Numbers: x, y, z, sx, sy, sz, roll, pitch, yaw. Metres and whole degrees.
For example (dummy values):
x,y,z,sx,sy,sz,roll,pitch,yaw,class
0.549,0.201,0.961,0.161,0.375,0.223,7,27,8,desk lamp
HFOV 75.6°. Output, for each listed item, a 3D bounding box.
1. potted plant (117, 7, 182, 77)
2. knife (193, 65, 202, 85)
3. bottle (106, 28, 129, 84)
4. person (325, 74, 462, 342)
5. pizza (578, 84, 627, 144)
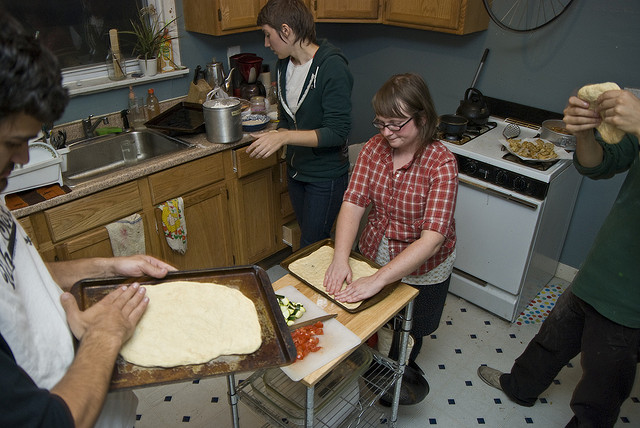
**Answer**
x,y,z,sx,sy,sz,roll,pitch,yaw,class
-1.336,-1.376,3.391,0.476,0.451,0.452,-15,37,-41,potted plant
-1.014,-1.125,3.395,0.045,0.204,0.026,22,38,-3,knife
-1.569,-1.208,3.133,0.183,0.346,0.183,5,32,-3,bottle
0.360,-0.116,2.018,0.582,0.982,0.743,11,30,17,person
1.223,-0.420,1.808,0.074,0.264,0.201,-8,50,0,pizza
